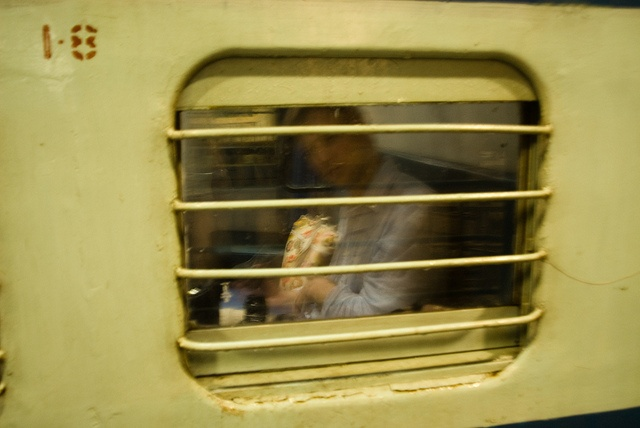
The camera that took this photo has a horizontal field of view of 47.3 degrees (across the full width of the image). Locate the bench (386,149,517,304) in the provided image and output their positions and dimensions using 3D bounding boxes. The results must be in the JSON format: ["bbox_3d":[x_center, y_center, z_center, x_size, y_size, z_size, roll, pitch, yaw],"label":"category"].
[{"bbox_3d":[0.364,0.082,2.810,0.674,0.432,0.335,7,-10,-41],"label":"bench"}]

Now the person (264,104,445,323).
[{"bbox_3d":[0.200,0.027,2.761,1.006,0.663,0.263,0,1,26],"label":"person"}]
